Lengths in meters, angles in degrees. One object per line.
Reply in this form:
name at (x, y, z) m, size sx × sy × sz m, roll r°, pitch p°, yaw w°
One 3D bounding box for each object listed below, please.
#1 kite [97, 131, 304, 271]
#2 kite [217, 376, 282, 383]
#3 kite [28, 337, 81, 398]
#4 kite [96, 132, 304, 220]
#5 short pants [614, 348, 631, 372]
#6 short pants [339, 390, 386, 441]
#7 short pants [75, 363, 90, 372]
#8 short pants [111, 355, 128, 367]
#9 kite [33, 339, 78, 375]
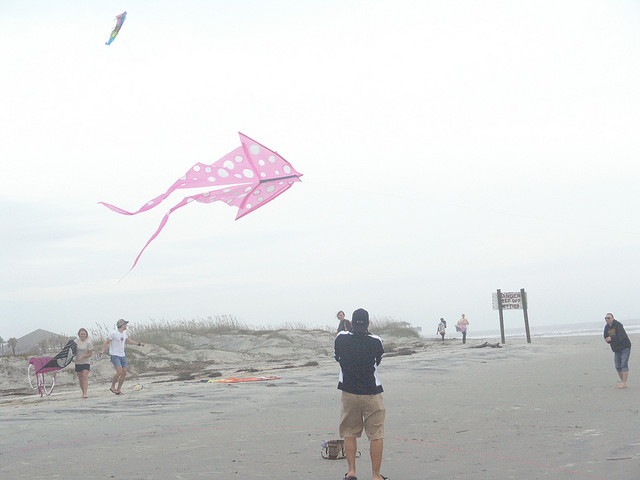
kite at (-1.721, -1.126, 9.949) m, size 4.069 × 2.056 × 0.685 m, roll -8°, pitch 8°, yaw -13°
kite at (-2.053, 4.004, 15.490) m, size 1.748 × 0.054 × 0.919 m, roll -1°, pitch -9°, yaw -12°
kite at (-7.915, 3.806, 15.558) m, size 1.682 × 1.121 × 1.729 m, roll -3°, pitch 8°, yaw -27°
kite at (-1.984, -1.099, 9.927) m, size 3.477 × 2.071 × 0.797 m, roll -6°, pitch 11°, yaw -9°
short pants at (6.876, 2.748, 12.325) m, size 0.316 × 0.525 × 0.385 m, roll -10°, pitch -11°, yaw 41°
short pants at (0.529, 2.255, 6.989) m, size 0.577 × 0.605 × 0.373 m, roll -5°, pitch -9°, yaw 18°
short pants at (-6.251, 3.363, 14.181) m, size 0.328 × 0.199 × 0.235 m, roll 0°, pitch -9°, yaw -18°
short pants at (-5.359, 3.235, 14.391) m, size 0.378 × 0.344 × 0.302 m, roll 2°, pitch -9°, yaw -27°
kite at (-7.763, 3.430, 15.880) m, size 1.573 × 0.671 × 0.528 m, roll -16°, pitch -24°, yaw 8°
